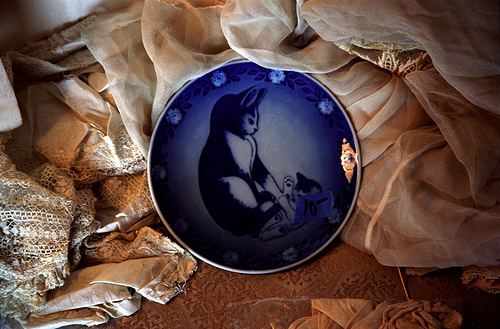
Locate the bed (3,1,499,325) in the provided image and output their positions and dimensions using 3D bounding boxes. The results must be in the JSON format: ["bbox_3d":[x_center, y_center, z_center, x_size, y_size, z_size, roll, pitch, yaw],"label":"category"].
[{"bbox_3d":[-0.011,-0.046,1.121,1.180,0.415,0.784,1,74,-1],"label":"bed"}]
